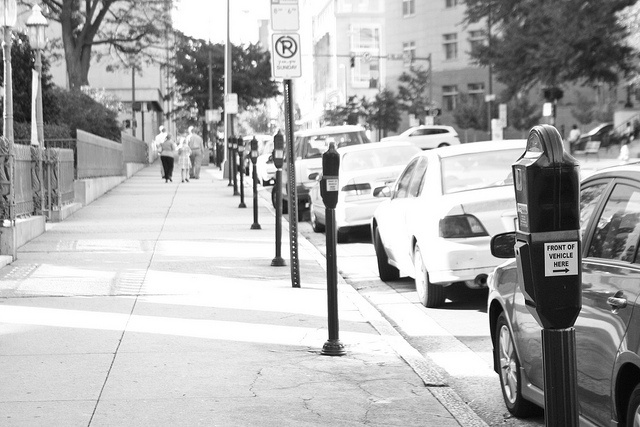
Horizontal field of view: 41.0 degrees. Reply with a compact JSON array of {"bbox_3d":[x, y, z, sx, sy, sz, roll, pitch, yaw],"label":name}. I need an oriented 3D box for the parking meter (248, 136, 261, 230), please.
[{"bbox_3d":[-1.360,-0.653,17.545,0.267,1.922,0.265,-2,-2,3],"label":"parking meter"}]

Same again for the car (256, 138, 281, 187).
[{"bbox_3d":[-2.089,-1.986,34.259,0.993,1.014,2.273,-2,15,-6],"label":"car"}]

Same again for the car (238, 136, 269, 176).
[{"bbox_3d":[-3.116,-2.812,40.457,1.437,1.361,2.481,-2,15,-14],"label":"car"}]

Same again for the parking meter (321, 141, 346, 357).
[{"bbox_3d":[0.115,0.326,8.237,0.220,2.011,0.508,0,8,1],"label":"parking meter"}]

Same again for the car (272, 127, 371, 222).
[{"bbox_3d":[0.064,-1.204,21.537,1.636,1.547,2.929,-5,11,-12],"label":"car"}]

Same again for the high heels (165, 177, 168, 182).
[{"bbox_3d":[-6.390,-1.469,35.428,0.136,0.269,0.142,-4,-28,-5],"label":"high heels"}]

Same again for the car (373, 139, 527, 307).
[{"bbox_3d":[1.531,-0.042,10.863,1.211,0.998,2.654,-3,8,-7],"label":"car"}]
